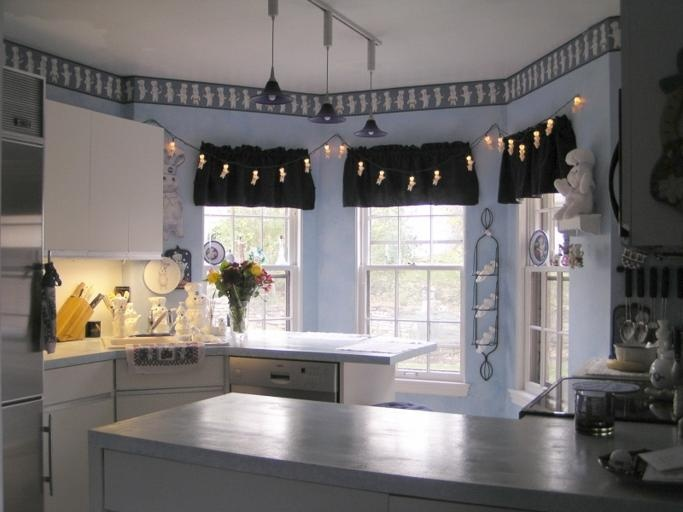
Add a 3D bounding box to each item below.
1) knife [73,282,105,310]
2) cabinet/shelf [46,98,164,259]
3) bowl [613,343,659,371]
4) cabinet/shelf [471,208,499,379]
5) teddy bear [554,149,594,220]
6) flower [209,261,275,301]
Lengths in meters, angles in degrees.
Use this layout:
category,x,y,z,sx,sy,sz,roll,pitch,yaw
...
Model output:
category,x,y,z,sx,sy,sz,roll,pitch,yaw
knife,-1.922,0.315,4.883,0.214,0.216,0.086,34,-23,-5
cabinet/shelf,-1.749,-0.516,4.684,0.383,1.141,1.138,-3,-4,36
bowl,1.649,0.560,3.572,0.204,0.140,0.215,0,3,0
cabinet/shelf,1.253,0.334,5.518,0.240,1.497,0.138,1,3,13
teddy bear,1.596,-0.479,4.354,0.258,0.486,0.216,1,3,20
flower,-0.759,0.180,4.707,0.320,0.288,0.333,-1,-4,33
